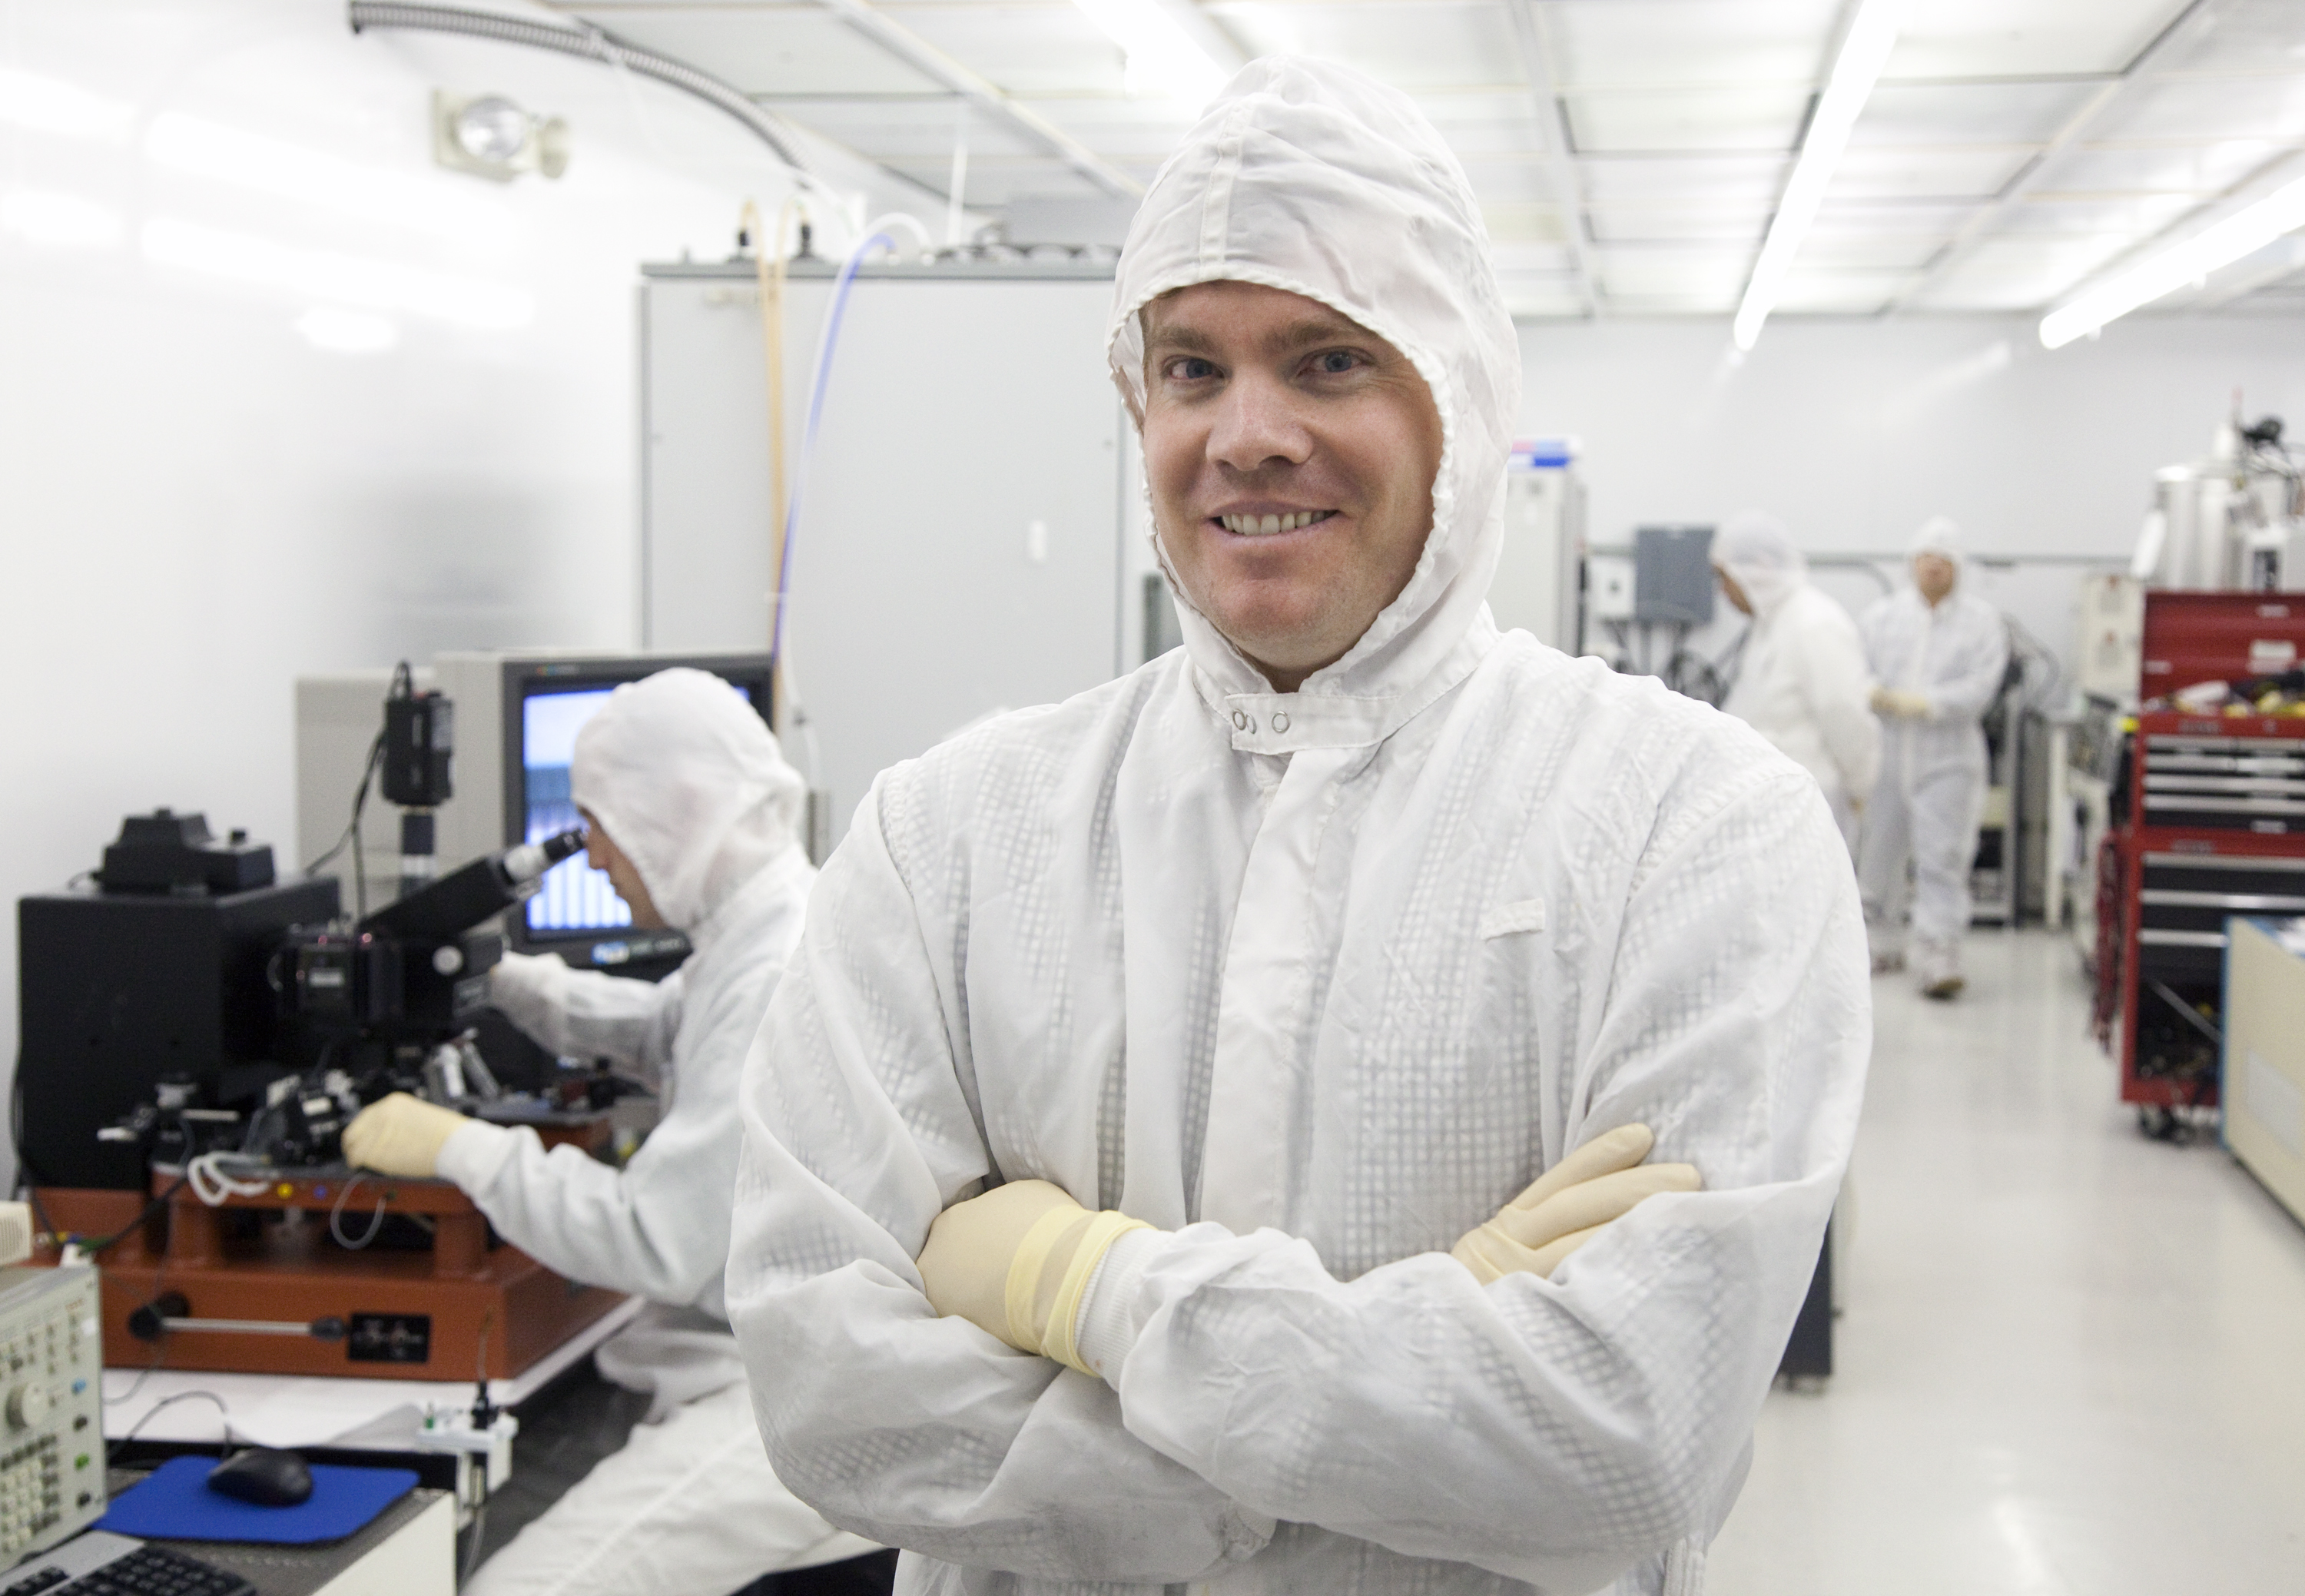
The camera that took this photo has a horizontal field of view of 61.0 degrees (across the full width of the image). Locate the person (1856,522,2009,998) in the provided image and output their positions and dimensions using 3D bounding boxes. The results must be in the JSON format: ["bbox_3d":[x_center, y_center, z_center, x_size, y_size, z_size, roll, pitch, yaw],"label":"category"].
[{"bbox_3d":[3.206,-0.209,8.092,0.508,2.661,0.564,3,9,17],"label":"person"}]

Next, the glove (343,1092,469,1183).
[{"bbox_3d":[-1.092,0.504,2.869,0.191,0.122,0.068,2,11,8],"label":"glove"}]

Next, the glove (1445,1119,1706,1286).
[{"bbox_3d":[0.374,0.370,1.760,0.202,0.055,0.119,-33,35,-5],"label":"glove"}]

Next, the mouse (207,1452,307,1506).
[{"bbox_3d":[-1.139,0.864,2.496,0.103,0.037,0.063,7,6,11],"label":"mouse"}]

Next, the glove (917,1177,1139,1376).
[{"bbox_3d":[-0.121,0.450,1.851,0.208,0.145,0.097,6,13,28],"label":"glove"}]

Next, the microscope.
[{"bbox_3d":[-1.061,0.238,3.155,0.511,0.559,0.272,6,7,-6],"label":"microscope"}]

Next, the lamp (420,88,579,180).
[{"bbox_3d":[-1.683,-1.706,5.051,0.240,0.201,0.309,3,11,12],"label":"lamp"}]
